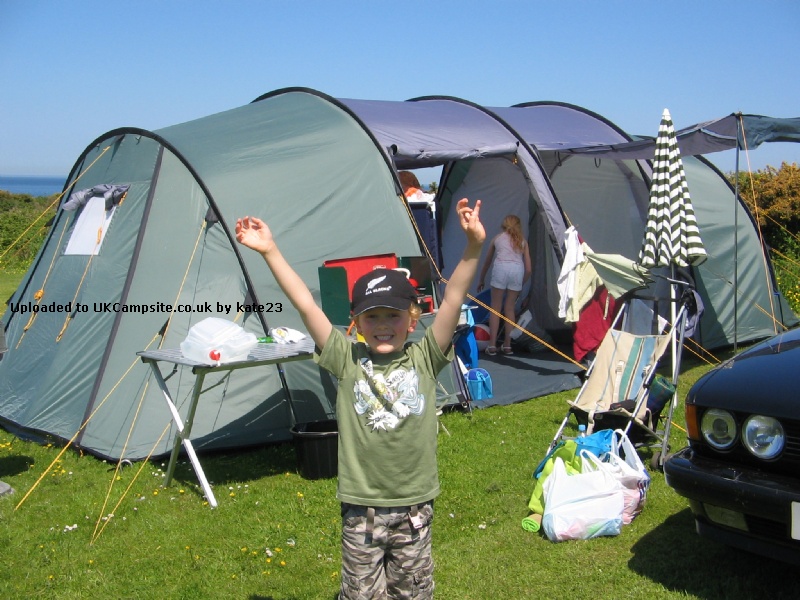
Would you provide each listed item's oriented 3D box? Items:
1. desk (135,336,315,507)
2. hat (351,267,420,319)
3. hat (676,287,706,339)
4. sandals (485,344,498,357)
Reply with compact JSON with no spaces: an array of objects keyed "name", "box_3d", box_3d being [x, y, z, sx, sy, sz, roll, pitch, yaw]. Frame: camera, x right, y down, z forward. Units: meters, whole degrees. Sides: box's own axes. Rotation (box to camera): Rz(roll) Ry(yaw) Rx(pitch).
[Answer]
[{"name":"desk","box_3d":[-1.510,0.772,5.938,0.734,1.063,1.414,3,18,19]},{"name":"hat","box_3d":[-0.080,-0.047,3.191,0.314,0.189,0.224,-4,11,-13]},{"name":"hat","box_3d":[2.972,0.118,7.048,0.181,0.536,0.362,15,-3,14]},{"name":"sandals","box_3d":[1.196,0.641,8.954,0.073,0.093,0.215,-2,2,-9]}]
